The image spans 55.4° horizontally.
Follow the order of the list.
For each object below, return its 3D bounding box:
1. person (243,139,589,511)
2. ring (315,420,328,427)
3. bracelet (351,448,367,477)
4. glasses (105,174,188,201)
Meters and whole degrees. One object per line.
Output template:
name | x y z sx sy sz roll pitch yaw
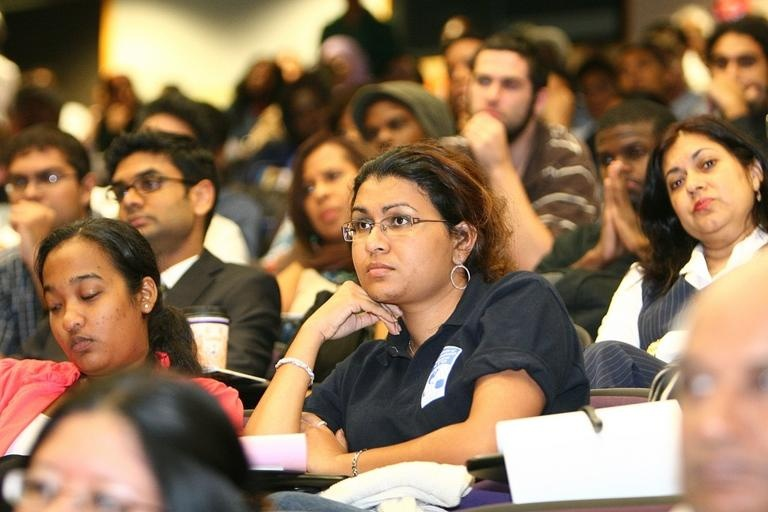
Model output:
person | 0.085 0.130 2.404 1.101 1.030 0.741 -3 5 14
ring | -0.216 0.570 2.517 0.025 0.023 0.023 -5 9 1
bracelet | -0.077 0.622 2.220 0.048 0.063 0.102 -4 4 8
glasses | -1.184 -0.348 3.694 0.411 0.129 0.140 -4 4 -12
